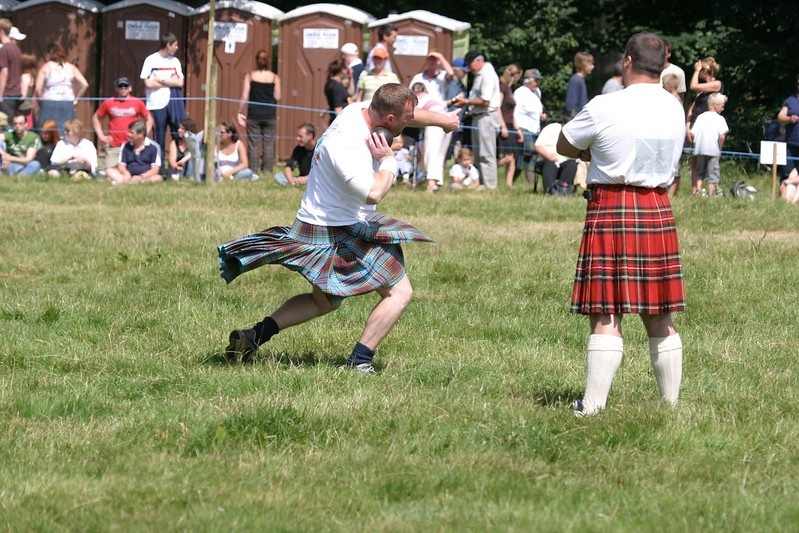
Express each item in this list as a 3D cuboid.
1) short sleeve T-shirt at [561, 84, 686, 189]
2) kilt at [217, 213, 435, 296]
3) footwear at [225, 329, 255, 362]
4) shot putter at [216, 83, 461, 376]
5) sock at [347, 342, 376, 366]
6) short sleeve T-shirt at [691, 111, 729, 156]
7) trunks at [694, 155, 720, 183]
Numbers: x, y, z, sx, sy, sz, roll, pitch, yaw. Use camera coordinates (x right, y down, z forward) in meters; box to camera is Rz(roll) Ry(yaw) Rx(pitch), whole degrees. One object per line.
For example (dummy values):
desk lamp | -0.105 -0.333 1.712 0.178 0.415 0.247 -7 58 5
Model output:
short sleeve T-shirt | 1.921 -1.050 10.067 1.123 0.826 0.681 -4 15 -28
kilt | -0.615 -0.107 10.602 1.147 0.390 0.921 -14 17 -35
footwear | -1.365 0.663 10.872 0.173 0.367 0.162 -30 57 -33
shot putter | -0.499 -0.333 10.844 2.190 2.495 1.426 -2 19 -15
sock | -0.335 0.734 10.815 0.247 0.236 0.158 3 2 1
short sleeve T-shirt | 4.283 -1.819 17.522 0.475 0.614 0.346 4 3 13
trunks | 4.306 -1.353 17.756 0.339 0.374 0.441 4 3 12
